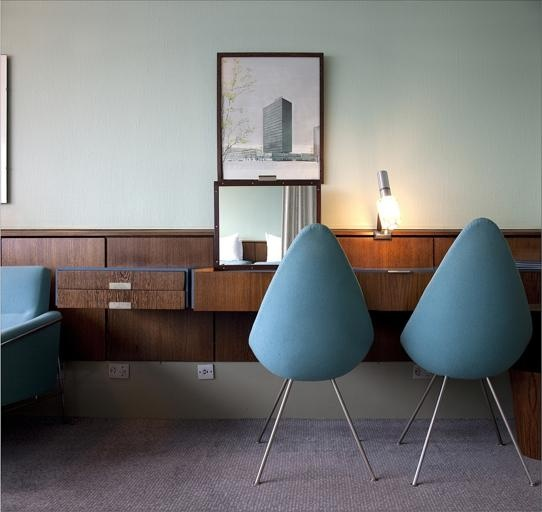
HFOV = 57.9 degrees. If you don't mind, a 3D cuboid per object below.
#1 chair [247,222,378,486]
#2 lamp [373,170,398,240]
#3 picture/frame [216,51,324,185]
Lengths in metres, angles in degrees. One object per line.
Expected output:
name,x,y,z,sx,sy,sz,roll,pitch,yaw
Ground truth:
chair,0.186,0.412,2.202,0.570,1.259,0.692,3,17,16
lamp,0.585,-0.254,2.498,0.123,0.351,0.108,3,9,24
picture/frame,0.012,-0.729,2.535,0.518,0.748,0.029,0,1,5
